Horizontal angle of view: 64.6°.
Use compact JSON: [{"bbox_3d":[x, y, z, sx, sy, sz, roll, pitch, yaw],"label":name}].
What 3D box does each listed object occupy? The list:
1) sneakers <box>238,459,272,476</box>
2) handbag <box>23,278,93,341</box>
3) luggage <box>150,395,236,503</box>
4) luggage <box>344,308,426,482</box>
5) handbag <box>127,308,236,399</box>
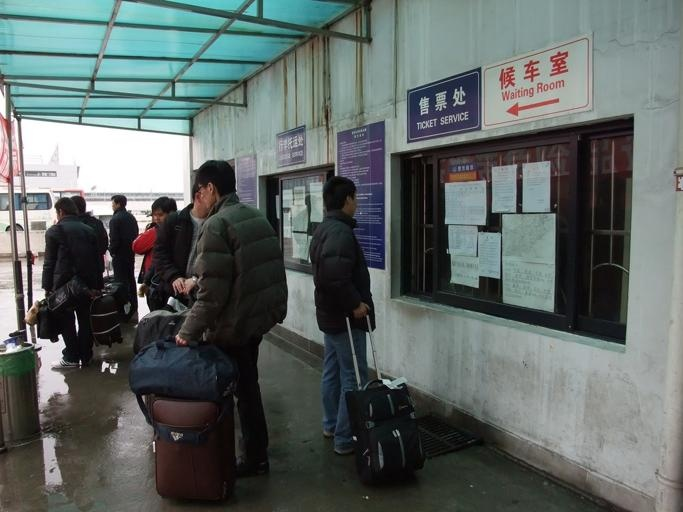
[{"bbox_3d":[-0.683,1.647,4.287,0.258,0.143,0.101,2,2,-15],"label":"sneakers"},{"bbox_3d":[-3.318,0.658,6.364,0.755,0.660,0.276,-28,-35,25],"label":"handbag"},{"bbox_3d":[-1.078,1.321,3.993,0.618,0.795,0.515,1,9,2],"label":"luggage"},{"bbox_3d":[0.288,1.138,4.117,0.659,1.150,0.472,7,11,41],"label":"luggage"},{"bbox_3d":[-1.179,0.832,4.035,0.698,0.546,0.273,4,-18,2],"label":"handbag"}]
